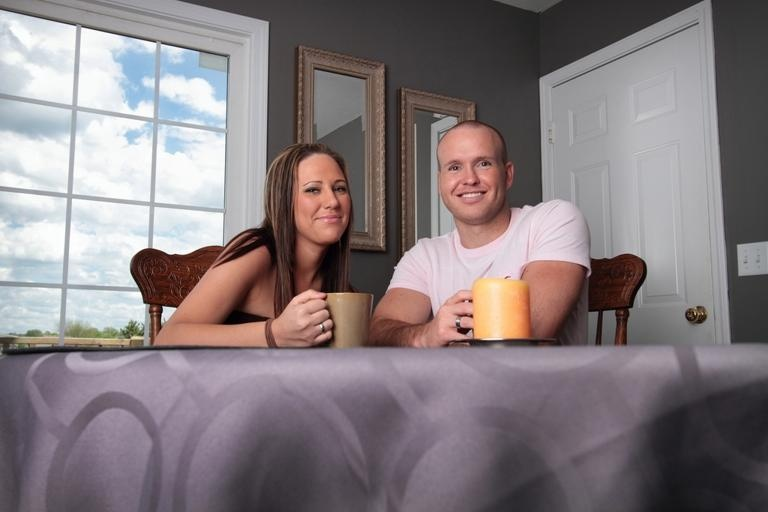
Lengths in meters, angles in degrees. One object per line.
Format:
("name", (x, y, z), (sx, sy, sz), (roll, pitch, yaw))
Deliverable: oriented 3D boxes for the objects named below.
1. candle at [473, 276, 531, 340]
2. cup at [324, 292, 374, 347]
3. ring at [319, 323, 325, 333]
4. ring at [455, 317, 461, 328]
("candle", (0.171, 0.082, 0.745), (0.088, 0.101, 0.090), (-1, -9, 1))
("cup", (-0.061, 0.111, 0.868), (0.096, 0.093, 0.078), (-1, 0, -19))
("ring", (-0.107, 0.127, 0.861), (0.009, 0.013, 0.013), (-8, -25, -7))
("ring", (0.143, 0.129, 0.936), (0.012, 0.019, 0.017), (2, 0, 16))
